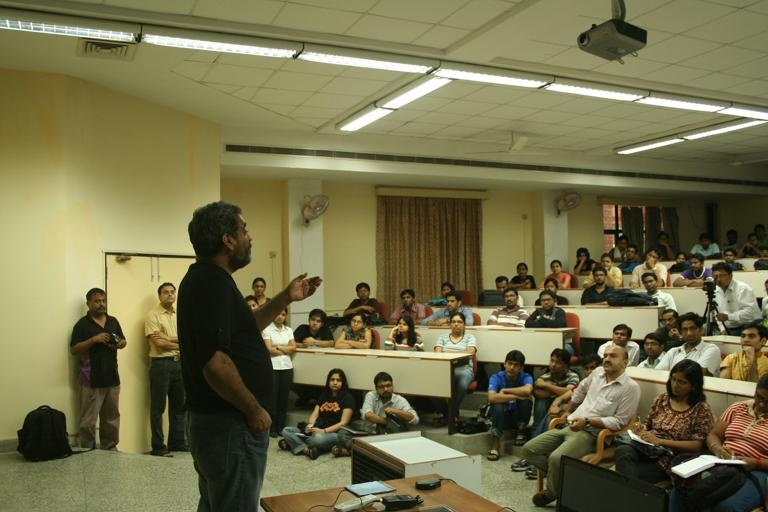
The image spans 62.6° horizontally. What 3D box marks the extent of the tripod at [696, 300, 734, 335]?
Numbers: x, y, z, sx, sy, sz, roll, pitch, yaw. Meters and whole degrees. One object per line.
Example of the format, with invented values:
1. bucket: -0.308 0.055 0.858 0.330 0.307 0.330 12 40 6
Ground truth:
1. tripod: 4.748 0.895 9.122 0.411 0.544 0.420 -14 -3 -18

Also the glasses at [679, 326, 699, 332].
1. glasses: 3.639 0.869 7.588 0.209 0.098 0.128 -2 -2 26

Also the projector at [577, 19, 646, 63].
1. projector: 2.323 -2.243 6.505 0.546 0.340 0.393 0 -2 -28

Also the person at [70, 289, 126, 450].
1. person: -3.506 1.426 7.859 0.610 2.036 0.387 0 -1 -24

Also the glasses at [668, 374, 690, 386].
1. glasses: 2.953 1.256 6.412 0.145 0.062 0.104 9 -6 -33

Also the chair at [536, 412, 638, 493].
1. chair: 2.015 1.949 6.253 0.760 0.908 0.625 21 -19 -13

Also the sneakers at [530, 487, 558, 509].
1. sneakers: 1.684 2.591 6.750 0.136 0.171 0.276 3 11 3

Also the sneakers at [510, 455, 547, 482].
1. sneakers: 1.694 2.536 7.516 0.191 0.135 0.343 11 -13 -37

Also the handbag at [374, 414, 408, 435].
1. handbag: 0.112 2.181 8.155 0.248 0.124 0.303 3 -2 -29

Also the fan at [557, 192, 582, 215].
1. fan: 3.953 -1.184 13.717 0.453 0.452 0.117 -8 40 0

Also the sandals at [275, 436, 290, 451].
1. sandals: -1.328 2.523 8.505 0.176 0.163 0.126 -32 28 -35

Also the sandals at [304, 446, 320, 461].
1. sandals: -0.908 2.531 8.118 0.173 0.246 0.084 -5 33 42

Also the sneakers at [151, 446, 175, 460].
1. sneakers: -2.827 2.540 8.176 0.253 0.090 0.139 -1 -8 19

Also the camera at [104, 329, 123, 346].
1. camera: -3.319 1.023 7.899 0.143 0.176 0.188 3 -6 -39
